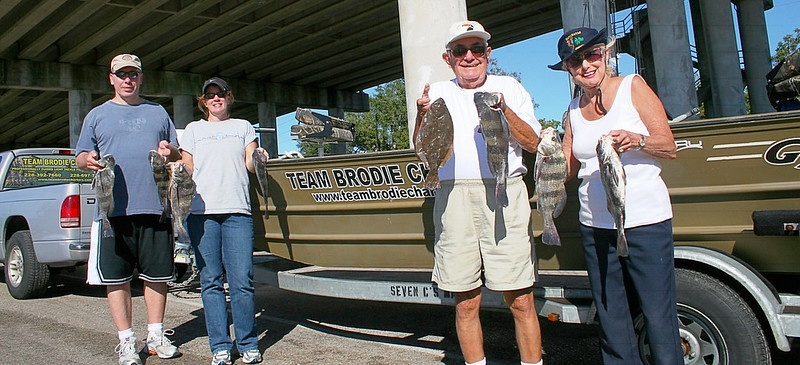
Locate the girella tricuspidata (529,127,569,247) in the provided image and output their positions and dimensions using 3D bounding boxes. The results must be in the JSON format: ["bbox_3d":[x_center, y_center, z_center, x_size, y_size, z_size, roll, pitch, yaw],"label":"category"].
[{"bbox_3d":[2.614,0.078,10.067,0.566,2.021,0.631,2,1,12],"label":"girella tricuspidata"}]

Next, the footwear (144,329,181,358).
[{"bbox_3d":[-4.669,3.154,11.303,0.849,0.533,0.382,3,2,13],"label":"footwear"}]

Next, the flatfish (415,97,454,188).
[{"bbox_3d":[0.622,-0.685,10.016,0.691,1.229,0.219,-2,-1,-3],"label":"flatfish"}]

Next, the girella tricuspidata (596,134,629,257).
[{"bbox_3d":[3.604,0.205,9.810,0.480,2.078,0.533,0,1,9],"label":"girella tricuspidata"}]

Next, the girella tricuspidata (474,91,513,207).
[{"bbox_3d":[1.623,-0.580,9.777,0.598,1.638,0.233,-2,-1,-21],"label":"girella tricuspidata"}]

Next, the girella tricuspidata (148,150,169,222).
[{"bbox_3d":[-4.520,0.057,10.772,0.330,1.281,0.235,-2,-1,-21],"label":"girella tricuspidata"}]
